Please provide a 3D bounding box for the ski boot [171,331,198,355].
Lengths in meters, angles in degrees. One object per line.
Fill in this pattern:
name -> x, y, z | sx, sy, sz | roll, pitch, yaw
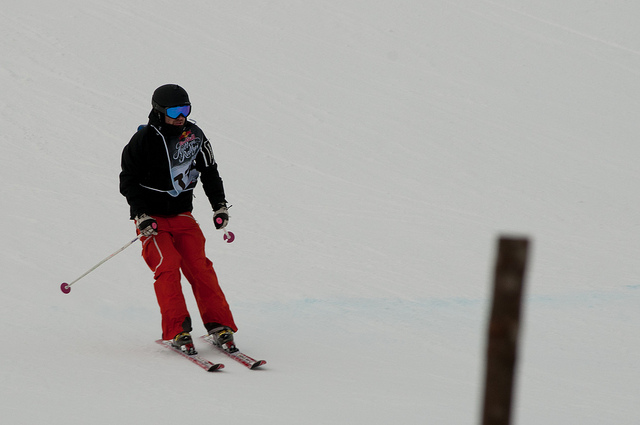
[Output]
ski boot -> -1.577, 1.514, 12.068 | 0.251, 0.181, 0.211 | 9, 4, 19

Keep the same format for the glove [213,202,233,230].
glove -> -1.197, 0.028, 12.354 | 0.201, 0.214, 0.275 | 7, 4, -7

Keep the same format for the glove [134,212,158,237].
glove -> -2.029, 0.128, 11.994 | 0.312, 0.253, 0.246 | -2, 3, -8
